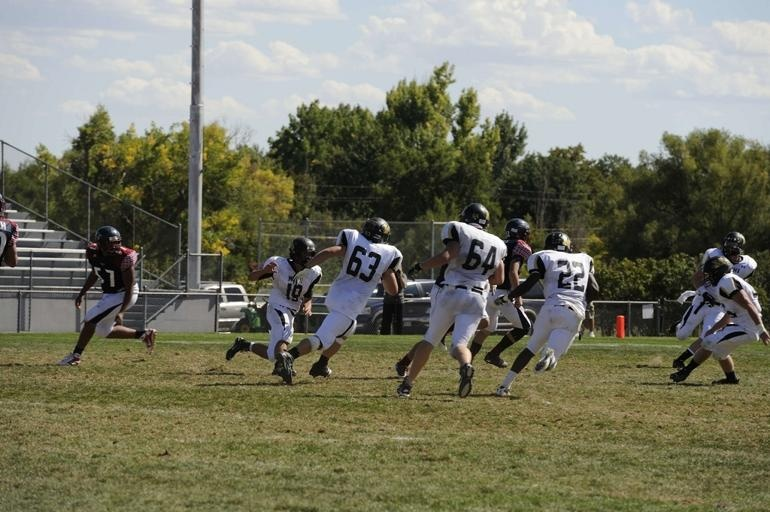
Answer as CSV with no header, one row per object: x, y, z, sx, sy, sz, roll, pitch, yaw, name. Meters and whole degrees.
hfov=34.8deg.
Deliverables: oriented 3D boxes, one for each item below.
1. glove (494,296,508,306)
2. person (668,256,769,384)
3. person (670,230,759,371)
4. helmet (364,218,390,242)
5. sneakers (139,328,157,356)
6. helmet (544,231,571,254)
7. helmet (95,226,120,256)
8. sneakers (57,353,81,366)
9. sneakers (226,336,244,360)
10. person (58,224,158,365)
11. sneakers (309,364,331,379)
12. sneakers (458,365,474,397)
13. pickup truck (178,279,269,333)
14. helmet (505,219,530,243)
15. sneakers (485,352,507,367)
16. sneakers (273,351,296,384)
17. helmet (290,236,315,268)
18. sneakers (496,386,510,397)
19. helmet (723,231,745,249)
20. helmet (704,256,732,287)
1.776,0.676,18.771,0.139,0.090,0.182,-14,-2,-2,glove
5.494,1.045,20.027,1.228,2.072,0.664,3,9,15,person
5.913,1.160,20.967,0.980,2.484,0.925,-6,20,23,person
-0.127,-0.416,19.332,0.409,0.369,0.319,4,4,-23,helmet
-3.911,1.422,20.568,0.274,0.596,0.200,-1,37,9,sneakers
2.712,-0.219,19.312,0.379,0.302,0.281,-2,2,-7,helmet
-4.503,-0.277,20.018,0.338,0.424,0.433,-3,5,-42,helmet
-5.181,1.683,20.224,0.396,0.186,0.143,-6,32,-13,sneakers
-2.588,1.594,21.215,0.188,0.422,0.152,17,26,-50,sneakers
-4.480,0.660,20.079,1.380,2.268,0.440,-3,10,-17,person
-1.034,1.846,19.751,0.406,0.193,0.150,2,14,-39,sneakers
1.220,1.882,18.386,0.210,0.514,0.246,3,12,-10,sneakers
-4.105,1.289,32.316,1.062,0.948,1.926,-4,-7,43,pickup truck
2.211,-0.430,20.472,0.392,0.369,0.307,-2,10,-24,helmet
1.891,1.777,21.124,0.334,0.166,0.119,26,20,-25,sneakers
-1.534,1.705,19.022,0.242,0.568,0.267,-10,-2,13,sneakers
-1.262,-0.084,19.431,0.465,0.472,0.366,-6,18,-34,helmet
1.787,2.067,18.772,0.241,0.240,0.137,2,-7,-3,sneakers
5.932,-0.278,20.958,0.290,0.250,0.342,4,10,24,helmet
5.361,0.228,19.902,0.478,0.424,0.370,-1,2,9,helmet
